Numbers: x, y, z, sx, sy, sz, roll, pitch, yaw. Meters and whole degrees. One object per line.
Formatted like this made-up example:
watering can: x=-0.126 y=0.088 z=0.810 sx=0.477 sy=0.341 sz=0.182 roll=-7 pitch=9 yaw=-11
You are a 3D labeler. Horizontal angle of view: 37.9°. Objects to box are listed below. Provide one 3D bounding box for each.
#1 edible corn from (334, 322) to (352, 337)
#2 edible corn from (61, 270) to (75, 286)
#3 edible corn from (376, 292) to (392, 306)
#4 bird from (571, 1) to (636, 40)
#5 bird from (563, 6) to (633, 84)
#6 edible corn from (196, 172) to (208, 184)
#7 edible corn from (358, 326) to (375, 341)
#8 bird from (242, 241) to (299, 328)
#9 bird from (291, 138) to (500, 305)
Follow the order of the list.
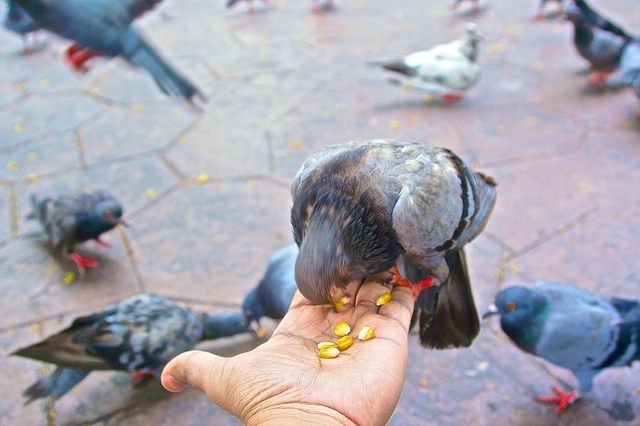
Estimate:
edible corn: x=0.250 y=1.293 z=10.359 sx=0.186 sy=0.044 sz=0.184 roll=-9 pitch=58 yaw=6
edible corn: x=-3.153 y=0.807 z=11.624 sx=0.134 sy=0.072 sz=0.165 roll=-5 pitch=48 yaw=-19
edible corn: x=0.721 y=0.981 z=10.601 sx=0.089 sy=0.058 sz=0.171 roll=30 pitch=41 yaw=27
bird: x=3.730 y=-2.581 z=12.410 sx=0.848 sy=0.696 sz=0.520 roll=-3 pitch=14 yaw=-32
bird: x=3.757 y=-2.277 z=12.520 sx=0.630 sy=0.660 sz=0.928 roll=-11 pitch=37 yaw=11
edible corn: x=-1.554 y=-0.460 z=12.277 sx=0.119 sy=0.058 sz=0.105 roll=-23 pitch=45 yaw=23
edible corn: x=0.511 y=1.318 z=10.207 sx=0.176 sy=0.023 sz=0.163 roll=-15 pitch=57 yaw=2
bird: x=-0.597 y=0.896 z=11.784 sx=0.858 sy=0.966 sz=0.659 roll=-22 pitch=80 yaw=-1
bird: x=0.694 y=0.028 z=10.625 sx=2.303 sy=0.927 sz=1.367 roll=-21 pitch=57 yaw=-2
